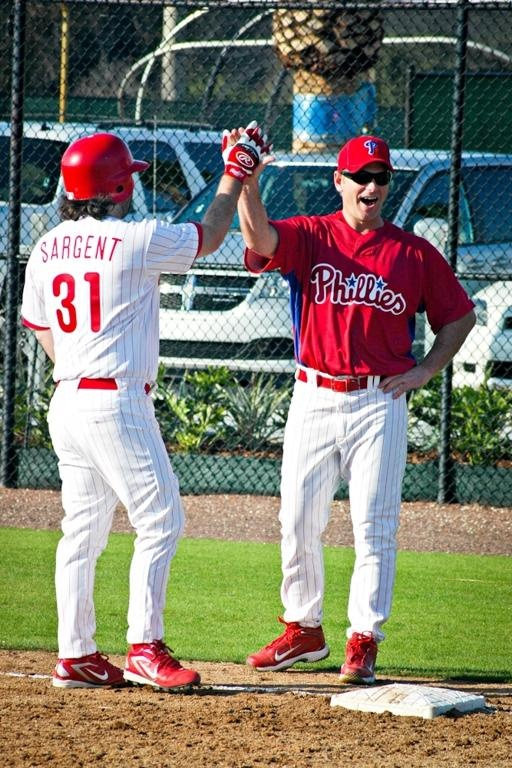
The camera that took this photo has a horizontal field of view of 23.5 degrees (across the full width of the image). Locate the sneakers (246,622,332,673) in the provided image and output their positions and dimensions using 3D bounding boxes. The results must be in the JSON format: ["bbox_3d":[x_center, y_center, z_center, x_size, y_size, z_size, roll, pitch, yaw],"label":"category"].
[{"bbox_3d":[0.141,1.017,4.804,0.400,0.254,0.133,-2,3,-10],"label":"sneakers"}]

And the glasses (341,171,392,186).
[{"bbox_3d":[0.410,-0.763,4.540,0.176,0.060,0.089,1,5,4],"label":"glasses"}]

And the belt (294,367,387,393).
[{"bbox_3d":[0.292,-0.018,4.549,0.351,0.085,0.123,5,6,39],"label":"belt"}]

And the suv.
[{"bbox_3d":[-1.399,-1.727,10.986,1.413,1.333,2.562,1,2,35],"label":"suv"}]

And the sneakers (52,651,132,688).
[{"bbox_3d":[-0.600,1.032,4.436,0.311,0.126,0.110,2,0,-16],"label":"sneakers"}]

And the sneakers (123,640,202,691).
[{"bbox_3d":[-0.276,0.995,4.325,0.342,0.165,0.121,4,7,26],"label":"sneakers"}]

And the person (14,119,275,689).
[{"bbox_3d":[-0.449,0.104,4.363,0.752,1.974,0.450,0,6,-11],"label":"person"}]

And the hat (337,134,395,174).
[{"bbox_3d":[0.405,-0.853,4.632,0.141,0.110,0.196,-1,-1,-12],"label":"hat"}]

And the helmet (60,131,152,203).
[{"bbox_3d":[-0.540,-0.754,4.380,0.277,0.210,0.222,-24,33,-33],"label":"helmet"}]

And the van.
[{"bbox_3d":[0.790,-0.989,9.719,1.606,1.477,2.947,2,1,35],"label":"van"}]

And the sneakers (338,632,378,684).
[{"bbox_3d":[0.373,1.005,4.467,0.128,0.194,0.168,1,5,5],"label":"sneakers"}]

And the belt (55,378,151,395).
[{"bbox_3d":[-0.504,0.002,4.253,0.311,0.058,0.142,0,5,-10],"label":"belt"}]
